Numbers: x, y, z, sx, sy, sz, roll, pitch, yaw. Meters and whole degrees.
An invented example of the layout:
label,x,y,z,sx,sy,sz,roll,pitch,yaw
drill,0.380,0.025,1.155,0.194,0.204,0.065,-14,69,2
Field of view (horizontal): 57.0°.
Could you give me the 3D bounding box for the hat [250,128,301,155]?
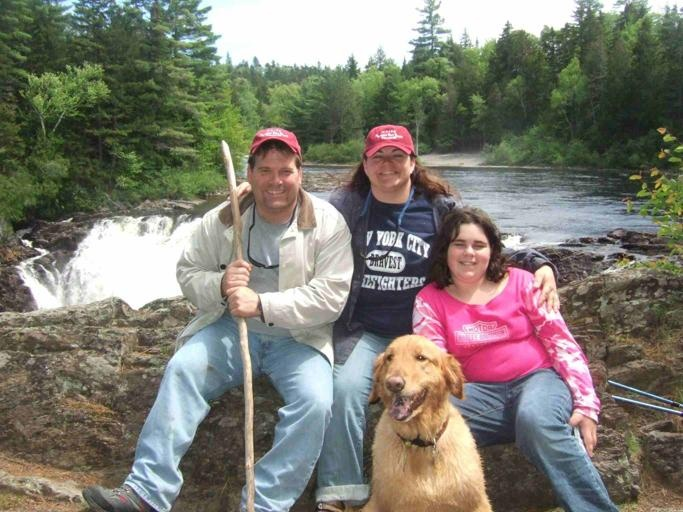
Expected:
label,x,y,z,sx,sy,sz,roll,pitch,yaw
hat,-0.729,-1.353,7.242,0.462,0.337,0.746,-1,-4,-3
